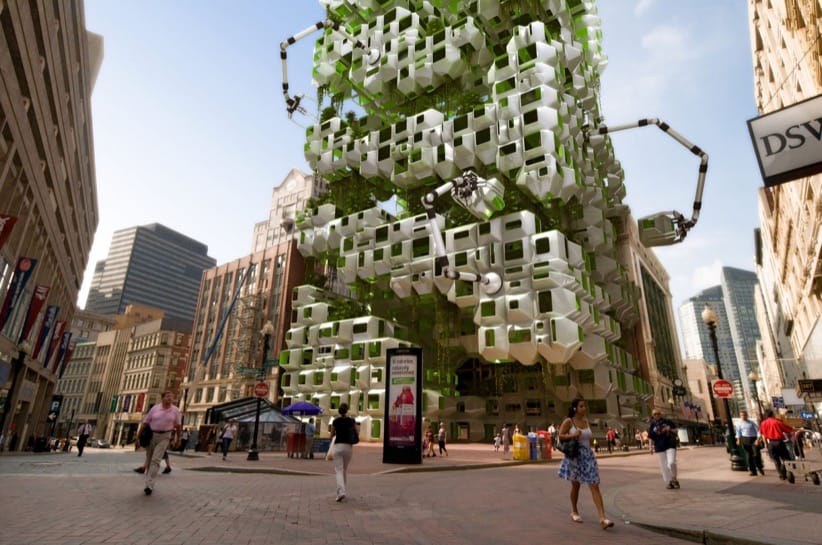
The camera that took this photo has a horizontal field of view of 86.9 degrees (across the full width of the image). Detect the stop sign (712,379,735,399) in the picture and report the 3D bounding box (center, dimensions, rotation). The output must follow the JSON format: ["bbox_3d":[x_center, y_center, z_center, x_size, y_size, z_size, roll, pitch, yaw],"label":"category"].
[{"bbox_3d":[13.311,4.953,18.417,0.679,0.807,1.694,-15,-24,31],"label":"stop sign"}]

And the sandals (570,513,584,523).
[{"bbox_3d":[3.931,5.722,10.122,0.268,0.176,0.209,2,-21,-8],"label":"sandals"}]

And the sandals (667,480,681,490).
[{"bbox_3d":[8.294,6.645,13.588,0.208,0.221,0.573,-3,-14,25],"label":"sandals"}]
